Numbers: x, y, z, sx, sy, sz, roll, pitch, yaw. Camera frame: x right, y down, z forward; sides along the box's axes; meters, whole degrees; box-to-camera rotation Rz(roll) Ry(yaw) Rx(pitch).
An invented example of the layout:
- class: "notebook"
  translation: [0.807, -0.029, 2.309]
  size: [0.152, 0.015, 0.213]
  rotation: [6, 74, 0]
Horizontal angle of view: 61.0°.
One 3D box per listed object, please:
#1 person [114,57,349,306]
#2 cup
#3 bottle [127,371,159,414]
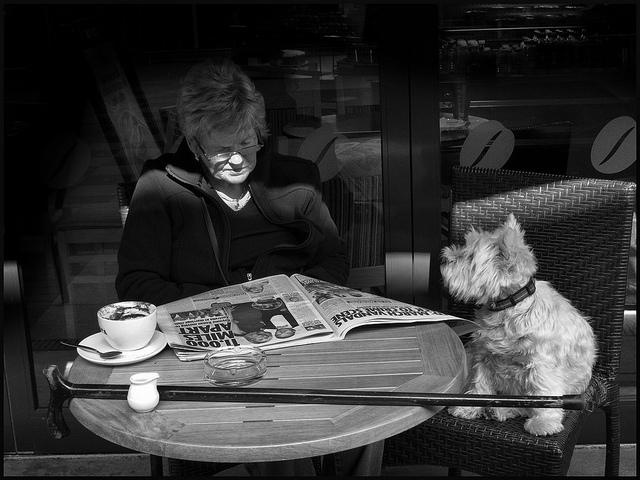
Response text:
- class: "person"
  translation: [-0.404, -0.231, 2.692]
  size: [1.315, 1.042, 0.790]
  rotation: [-11, 23, -34]
- class: "cup"
  translation: [-0.581, 0.263, 1.604]
  size: [0.198, 0.179, 0.108]
  rotation: [-3, 67, -17]
- class: "bottle"
  translation: [-0.441, 0.378, 1.355]
  size: [0.109, 0.090, 0.079]
  rotation: [0, 2, -22]
